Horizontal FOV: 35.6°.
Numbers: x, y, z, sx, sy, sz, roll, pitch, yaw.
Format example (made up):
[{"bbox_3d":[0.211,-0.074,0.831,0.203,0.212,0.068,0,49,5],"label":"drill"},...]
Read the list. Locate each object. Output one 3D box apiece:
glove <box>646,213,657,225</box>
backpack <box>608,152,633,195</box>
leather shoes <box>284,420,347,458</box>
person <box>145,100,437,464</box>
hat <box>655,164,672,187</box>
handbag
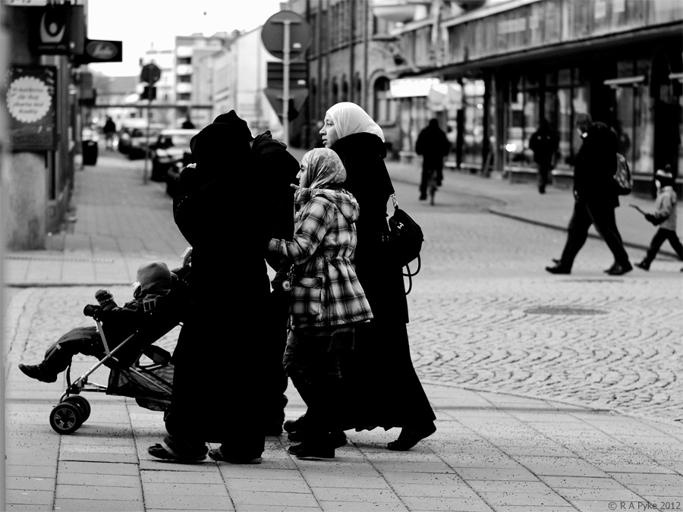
[{"bbox_3d":[2.025,-0.242,6.925,0.065,0.016,0.066,33,-8,33],"label":"glove"},{"bbox_3d":[1.745,-0.488,6.582,0.086,0.191,0.250,2,-24,6],"label":"backpack"},{"bbox_3d":[-0.187,1.075,6.155,0.264,0.100,0.212,0,10,15],"label":"leather shoes"},{"bbox_3d":[0.046,0.152,6.160,0.933,2.052,0.349,-1,6,-19],"label":"person"},{"bbox_3d":[2.055,-0.518,6.805,0.124,0.138,0.173,2,2,5],"label":"hat"},{"bbox_3d":[0.369,-0.011,6.330,0.241,0.645,0.473,-7,42,-5],"label":"handbag"}]
